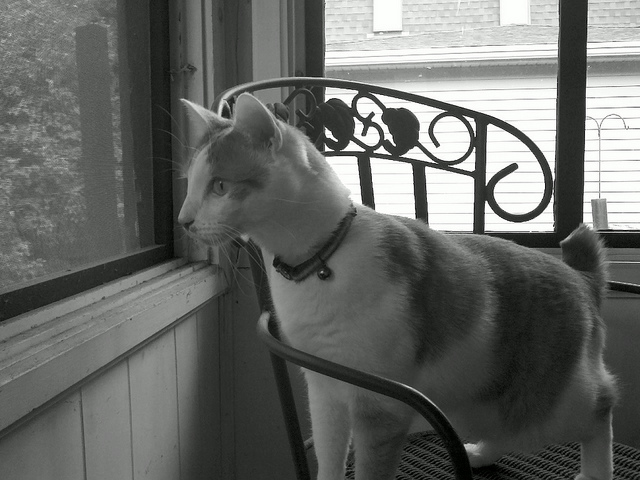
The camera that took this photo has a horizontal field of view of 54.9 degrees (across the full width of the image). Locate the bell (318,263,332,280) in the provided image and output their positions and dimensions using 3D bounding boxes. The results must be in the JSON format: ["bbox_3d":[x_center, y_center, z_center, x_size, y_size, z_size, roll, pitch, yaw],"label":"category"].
[{"bbox_3d":[0.008,0.051,0.984,0.014,0.024,0.020,-9,14,-43],"label":"bell"}]

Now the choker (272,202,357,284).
[{"bbox_3d":[-0.009,0.019,1.013,0.039,0.126,0.097,32,-29,-11],"label":"choker"}]

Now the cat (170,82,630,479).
[{"bbox_3d":[0.267,0.213,1.334,1.087,0.900,0.412,9,-19,-21],"label":"cat"}]
